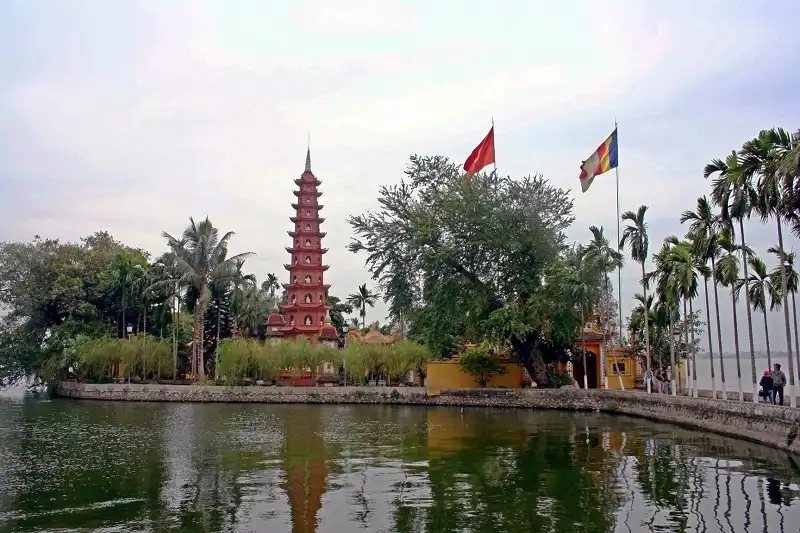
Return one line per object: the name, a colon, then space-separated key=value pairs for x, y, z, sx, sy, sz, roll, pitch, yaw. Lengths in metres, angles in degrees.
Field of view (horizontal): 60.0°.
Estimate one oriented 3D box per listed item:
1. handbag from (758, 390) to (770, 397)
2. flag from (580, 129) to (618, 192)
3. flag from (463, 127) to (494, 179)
handbag: x=15.809 y=5.466 z=30.011 sx=0.317 sy=0.184 sz=0.459 roll=-3 pitch=-13 yaw=19
flag: x=11.680 y=-5.994 z=40.569 sx=2.064 sy=3.579 sz=3.300 roll=-3 pitch=-11 yaw=14
flag: x=5.281 y=-7.534 z=43.456 sx=1.857 sy=0.378 sz=4.770 roll=-3 pitch=-39 yaw=-3
